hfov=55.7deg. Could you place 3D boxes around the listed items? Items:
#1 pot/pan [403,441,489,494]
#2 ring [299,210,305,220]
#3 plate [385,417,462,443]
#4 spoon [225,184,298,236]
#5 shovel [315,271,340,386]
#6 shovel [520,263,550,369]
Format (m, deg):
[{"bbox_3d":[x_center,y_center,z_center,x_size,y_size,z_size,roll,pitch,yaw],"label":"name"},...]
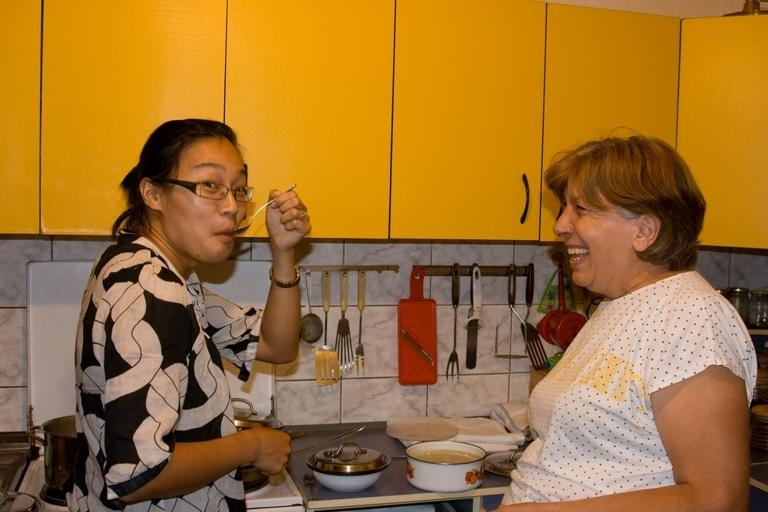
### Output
[{"bbox_3d":[0.229,0.764,2.628,0.291,0.118,0.198,-4,-2,4],"label":"pot/pan"},{"bbox_3d":[-0.264,-0.129,2.362,0.018,0.024,0.009,5,-20,-27],"label":"ring"},{"bbox_3d":[0.180,0.701,2.950,0.301,0.065,0.326,-5,-3,38],"label":"plate"},{"bbox_3d":[-0.390,-0.151,2.323,0.033,0.228,0.041,40,11,-27],"label":"spoon"},{"bbox_3d":[-0.242,0.306,3.009,0.106,0.469,0.057,-3,-2,-3],"label":"shovel"},{"bbox_3d":[0.665,0.292,3.200,0.033,0.423,0.101,-2,-7,-27],"label":"shovel"}]
